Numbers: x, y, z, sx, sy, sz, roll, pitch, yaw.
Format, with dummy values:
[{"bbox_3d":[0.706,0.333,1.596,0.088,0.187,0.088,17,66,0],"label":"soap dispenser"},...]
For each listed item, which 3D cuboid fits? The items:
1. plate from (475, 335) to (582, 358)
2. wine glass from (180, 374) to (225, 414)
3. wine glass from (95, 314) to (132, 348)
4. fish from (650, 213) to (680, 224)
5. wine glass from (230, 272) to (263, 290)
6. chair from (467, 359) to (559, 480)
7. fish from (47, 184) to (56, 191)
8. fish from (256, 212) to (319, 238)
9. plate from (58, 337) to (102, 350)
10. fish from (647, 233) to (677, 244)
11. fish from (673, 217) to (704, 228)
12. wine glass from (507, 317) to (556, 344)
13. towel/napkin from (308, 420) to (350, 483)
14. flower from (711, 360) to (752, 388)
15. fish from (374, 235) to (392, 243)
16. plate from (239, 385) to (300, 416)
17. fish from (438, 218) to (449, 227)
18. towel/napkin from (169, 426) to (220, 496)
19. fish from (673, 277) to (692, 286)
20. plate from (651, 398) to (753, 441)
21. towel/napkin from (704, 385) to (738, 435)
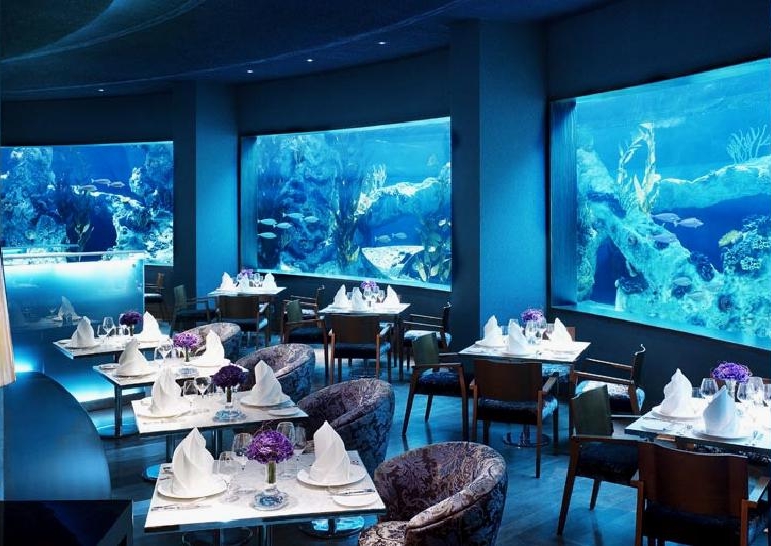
[{"bbox_3d":[1.503,0.794,5.826,1.177,0.114,0.740,1,5,18],"label":"plate"},{"bbox_3d":[-1.454,0.936,4.380,0.311,0.243,0.390,-2,5,-16],"label":"wine glass"},{"bbox_3d":[-3.068,0.655,6.179,0.350,0.362,0.345,3,2,20],"label":"wine glass"},{"bbox_3d":[3.443,-0.673,6.733,0.016,0.150,0.328,-5,6,-35],"label":"fish"},{"bbox_3d":[-2.454,0.128,9.833,0.439,0.303,0.374,-2,5,-31],"label":"wine glass"},{"bbox_3d":[1.349,1.276,5.501,1.044,1.429,1.027,1,4,21],"label":"chair"},{"bbox_3d":[-7.802,-2.002,12.823,0.232,0.175,0.013,-1,6,4],"label":"fish"},{"bbox_3d":[-2.040,-1.094,11.502,1.394,0.358,0.060,0,6,17],"label":"fish"},{"bbox_3d":[-3.384,0.766,5.985,0.589,0.095,0.261,0,5,11],"label":"plate"},{"bbox_3d":[3.423,-0.431,6.756,0.053,0.138,0.296,-4,5,-25],"label":"fish"},{"bbox_3d":[3.595,-0.597,6.508,0.016,0.126,0.327,-5,6,-32],"label":"fish"},{"bbox_3d":[1.631,0.631,6.081,0.270,0.211,0.542,3,-4,-37],"label":"wine glass"},{"bbox_3d":[-0.335,1.054,3.293,0.317,0.337,0.308,0,-6,-7],"label":"towel/napkin"},{"bbox_3d":[2.734,0.779,4.369,0.282,0.107,0.327,3,5,29],"label":"flower"},{"bbox_3d":[-0.050,-0.654,10.487,0.320,0.158,0.055,3,7,37],"label":"fish"},{"bbox_3d":[-0.927,1.006,4.313,0.655,0.102,0.312,2,5,31],"label":"plate"},{"bbox_3d":[1.025,-0.895,9.745,0.214,0.134,0.027,3,7,43],"label":"fish"},{"bbox_3d":[-1.124,1.072,3.162,0.254,0.318,0.244,-11,6,-39],"label":"towel/napkin"},{"bbox_3d":[3.558,0.095,6.574,0.011,0.120,0.214,-5,6,-35],"label":"fish"},{"bbox_3d":[2.261,1.035,3.878,0.418,0.154,0.390,1,-3,-1],"label":"plate"},{"bbox_3d":[2.275,0.941,3.719,0.209,0.301,0.141,-2,5,-9],"label":"towel/napkin"}]
